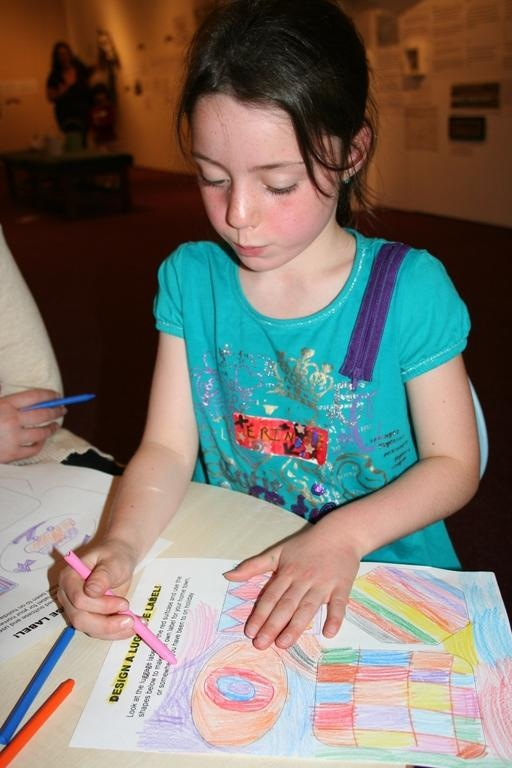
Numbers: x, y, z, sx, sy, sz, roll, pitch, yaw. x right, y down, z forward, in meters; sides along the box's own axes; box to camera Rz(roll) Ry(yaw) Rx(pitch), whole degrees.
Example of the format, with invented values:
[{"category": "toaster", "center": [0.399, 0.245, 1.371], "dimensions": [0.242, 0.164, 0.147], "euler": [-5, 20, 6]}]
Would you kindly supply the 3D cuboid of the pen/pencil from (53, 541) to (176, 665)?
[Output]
[{"category": "pen/pencil", "center": [-0.128, 0.204, 0.577], "dimensions": [0.011, 0.100, 0.010], "euler": [-42, -4, -1]}]
